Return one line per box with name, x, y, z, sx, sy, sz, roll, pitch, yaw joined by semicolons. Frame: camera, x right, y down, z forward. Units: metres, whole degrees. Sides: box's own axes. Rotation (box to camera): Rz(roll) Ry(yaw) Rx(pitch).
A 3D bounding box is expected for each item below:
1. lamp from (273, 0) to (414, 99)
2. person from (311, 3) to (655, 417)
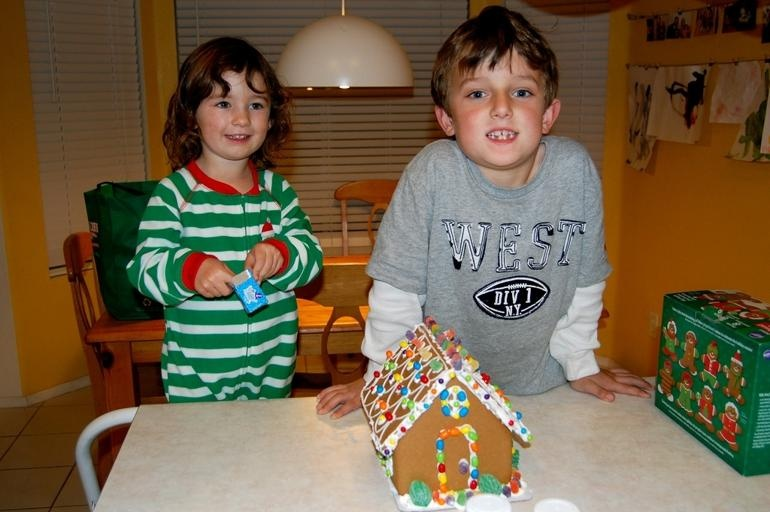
lamp;-0.183;-0.885;2.445;0.529;0.572;0.530;-1;5;-9
person;0.279;-0.144;1.427;0.794;0.966;0.448;-2;18;-3
